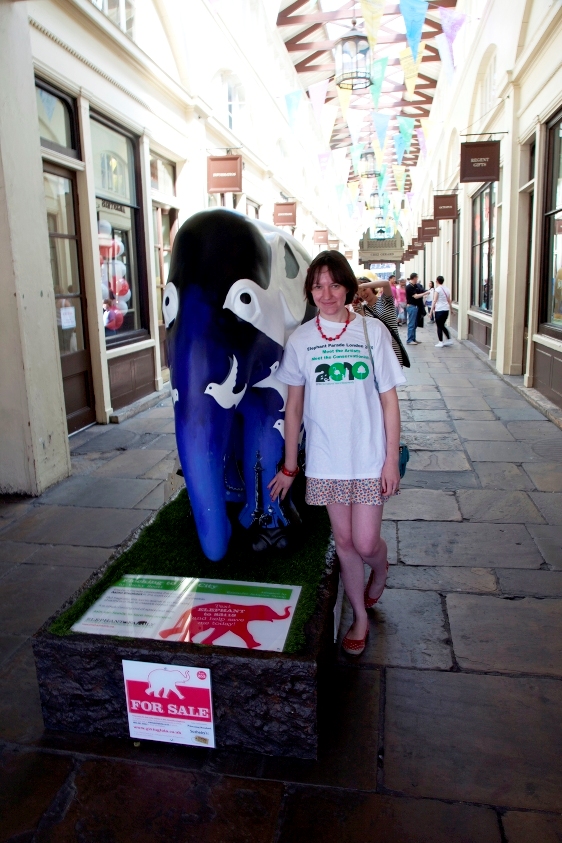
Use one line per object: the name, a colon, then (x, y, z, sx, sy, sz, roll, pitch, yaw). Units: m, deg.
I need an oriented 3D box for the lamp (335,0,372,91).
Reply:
lamp: (1.997, -10.041, 15.415, 0.964, 1.684, 0.715, 1, 8, 9)

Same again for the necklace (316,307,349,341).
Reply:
necklace: (0.169, -0.300, 1.748, 0.071, 0.106, 0.030, -2, 2, 18)

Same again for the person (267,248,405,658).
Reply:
person: (0.173, 0.180, 1.901, 0.383, 1.436, 0.343, -1, 7, -6)
